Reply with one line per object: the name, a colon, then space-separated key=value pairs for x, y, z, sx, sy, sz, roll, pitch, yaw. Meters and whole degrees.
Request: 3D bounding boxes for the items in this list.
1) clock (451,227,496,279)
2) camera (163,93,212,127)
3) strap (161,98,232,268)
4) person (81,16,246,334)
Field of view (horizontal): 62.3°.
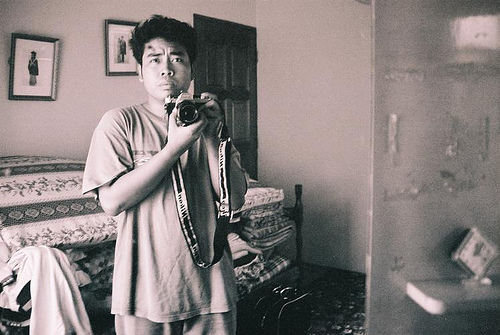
clock: x=0.452 y=0.179 z=0.883 sx=0.094 sy=0.096 sz=0.031 roll=40 pitch=1 yaw=-1
camera: x=-0.168 y=-0.150 z=1.055 sx=0.122 sy=0.074 sz=0.086 roll=0 pitch=1 yaw=-19
strap: x=-0.116 y=0.041 z=1.102 sx=0.183 sy=0.437 sz=0.123 roll=-8 pitch=12 yaw=-25
person: x=-0.222 y=0.030 z=1.117 sx=0.349 sy=0.872 sz=0.326 roll=0 pitch=11 yaw=17
